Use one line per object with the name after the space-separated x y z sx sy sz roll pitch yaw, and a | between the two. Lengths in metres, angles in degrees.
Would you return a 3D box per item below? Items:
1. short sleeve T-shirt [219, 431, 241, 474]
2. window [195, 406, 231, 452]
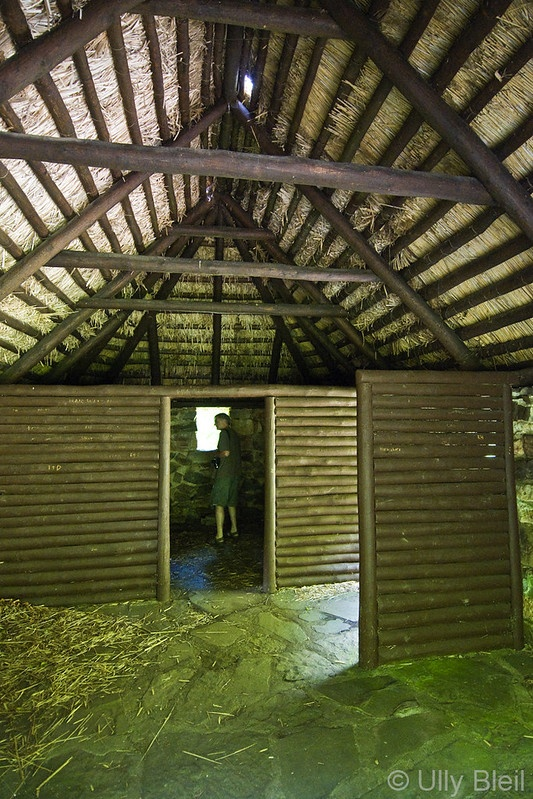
-0.496 0.705 7.585 0.256 0.625 0.495 -2 -9 19 | short sleeve T-shirt
-0.838 0.472 8.732 0.794 0.868 0.087 -2 2 -10 | window
